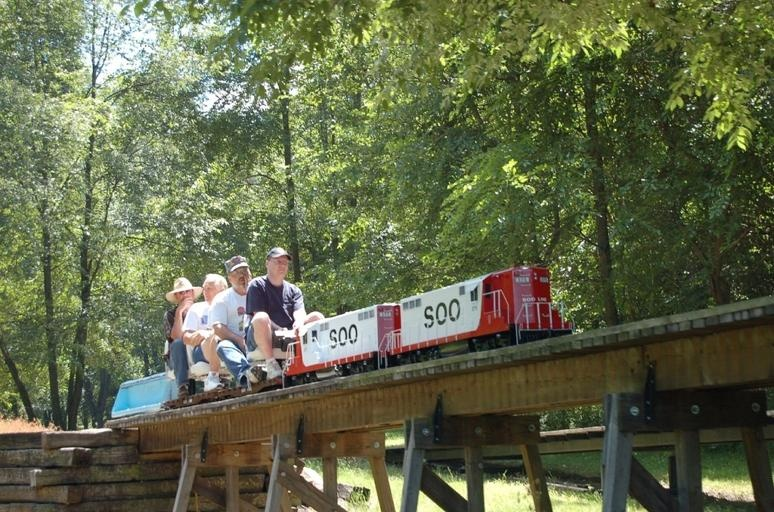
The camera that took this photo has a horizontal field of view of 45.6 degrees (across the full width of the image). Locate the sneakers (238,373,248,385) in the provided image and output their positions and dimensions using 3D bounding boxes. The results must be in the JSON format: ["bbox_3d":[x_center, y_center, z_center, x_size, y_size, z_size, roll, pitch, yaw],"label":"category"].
[{"bbox_3d":[-3.436,2.959,22.092,0.165,0.241,0.228,2,-8,-21],"label":"sneakers"}]
